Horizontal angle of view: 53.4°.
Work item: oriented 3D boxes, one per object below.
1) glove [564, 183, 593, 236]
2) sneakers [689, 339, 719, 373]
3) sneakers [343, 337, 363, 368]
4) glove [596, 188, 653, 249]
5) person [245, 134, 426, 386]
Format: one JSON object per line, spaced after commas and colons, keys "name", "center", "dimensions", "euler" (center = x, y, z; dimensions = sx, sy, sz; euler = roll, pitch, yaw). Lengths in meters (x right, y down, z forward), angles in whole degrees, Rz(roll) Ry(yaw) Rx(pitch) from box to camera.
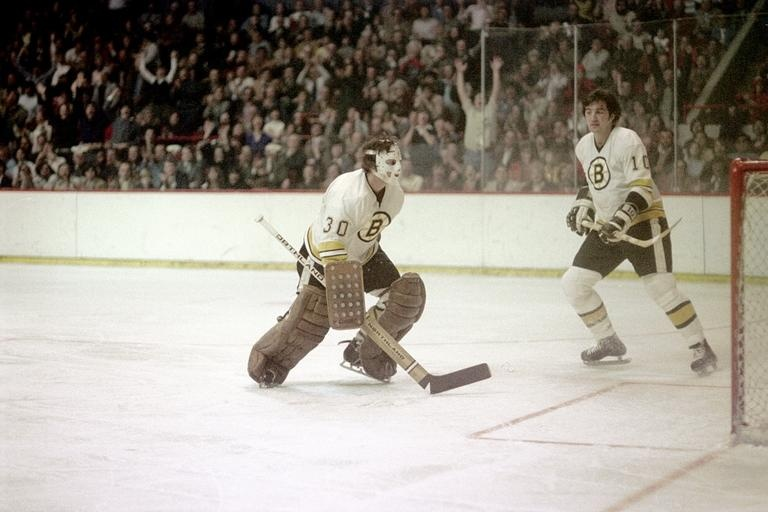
{"name": "glove", "center": [1.571, -0.325, 5.951], "dimensions": [0.264, 0.340, 0.150], "euler": [-1, -29, 39]}
{"name": "sneakers", "center": [2.251, 0.686, 5.317], "dimensions": [0.243, 0.223, 0.175], "euler": [-1, 8, -4]}
{"name": "sneakers", "center": [-0.216, 0.670, 5.319], "dimensions": [0.188, 0.181, 0.080], "euler": [6, -1, 28]}
{"name": "glove", "center": [1.695, -0.252, 5.376], "dimensions": [0.401, 0.133, 0.402], "euler": [13, 41, 22]}
{"name": "person", "center": [-0.279, 0.085, 5.276], "dimensions": [1.203, 1.818, 1.187], "euler": [2, 14, -15]}
